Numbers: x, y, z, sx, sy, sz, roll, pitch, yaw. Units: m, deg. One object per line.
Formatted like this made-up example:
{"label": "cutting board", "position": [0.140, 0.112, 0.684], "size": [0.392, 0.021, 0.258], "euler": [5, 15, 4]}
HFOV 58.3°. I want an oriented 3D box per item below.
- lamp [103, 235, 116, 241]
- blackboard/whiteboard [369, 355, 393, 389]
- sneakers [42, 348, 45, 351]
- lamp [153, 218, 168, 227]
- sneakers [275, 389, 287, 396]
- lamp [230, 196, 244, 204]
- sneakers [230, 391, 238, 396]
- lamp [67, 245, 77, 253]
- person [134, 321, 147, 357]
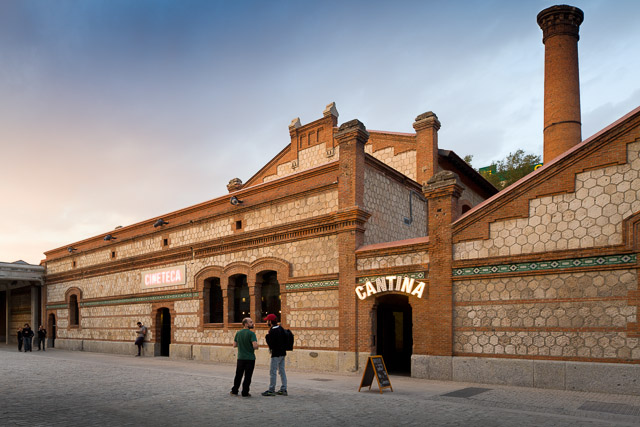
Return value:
{"label": "lamp", "position": [-13.743, 1.587, 37.179], "size": [0.860, 0.338, 0.469], "euler": [-11, -19, 32]}
{"label": "blackboard/whiteboard", "position": [2.157, 5.583, 20.058], "size": [0.697, 1.204, 1.077], "euler": [-3, -17, 8]}
{"label": "sneakers", "position": [-18.998, 9.299, 39.086], "size": [0.183, 0.233, 0.252], "euler": [1, -11, -18]}
{"label": "lamp", "position": [-9.323, 0.592, 33.249], "size": [1.123, 0.461, 0.330], "euler": [-9, 20, 22]}
{"label": "sneakers", "position": [-1.297, 6.115, 19.497], "size": [0.460, 0.186, 0.152], "euler": [-14, -16, 38]}
{"label": "lamp", "position": [-4.285, -0.699, 29.041], "size": [0.569, 0.446, 0.586], "euler": [-9, -19, 28]}
{"label": "sneakers", "position": [-2.956, 6.105, 19.404], "size": [0.284, 0.115, 0.100], "euler": [-3, -6, 9]}
{"label": "lamp", "position": [-17.814, 2.603, 40.920], "size": [0.646, 0.287, 0.655], "euler": [5, -8, -1]}
{"label": "person", "position": [-10.574, 7.271, 33.328], "size": [0.552, 2.043, 1.091], "euler": [11, -20, -34]}
